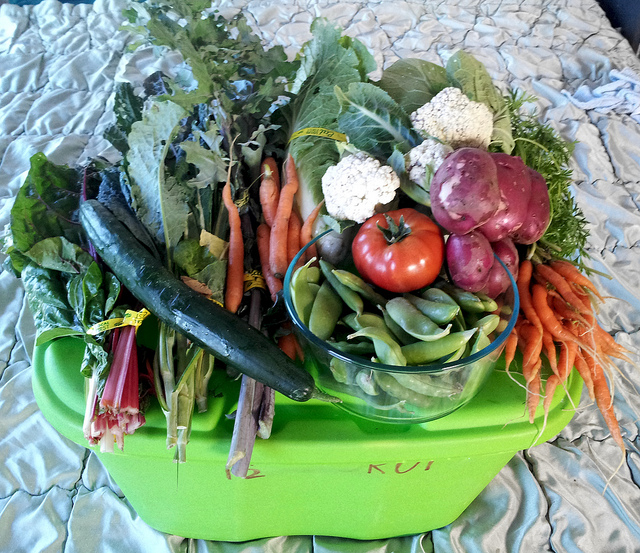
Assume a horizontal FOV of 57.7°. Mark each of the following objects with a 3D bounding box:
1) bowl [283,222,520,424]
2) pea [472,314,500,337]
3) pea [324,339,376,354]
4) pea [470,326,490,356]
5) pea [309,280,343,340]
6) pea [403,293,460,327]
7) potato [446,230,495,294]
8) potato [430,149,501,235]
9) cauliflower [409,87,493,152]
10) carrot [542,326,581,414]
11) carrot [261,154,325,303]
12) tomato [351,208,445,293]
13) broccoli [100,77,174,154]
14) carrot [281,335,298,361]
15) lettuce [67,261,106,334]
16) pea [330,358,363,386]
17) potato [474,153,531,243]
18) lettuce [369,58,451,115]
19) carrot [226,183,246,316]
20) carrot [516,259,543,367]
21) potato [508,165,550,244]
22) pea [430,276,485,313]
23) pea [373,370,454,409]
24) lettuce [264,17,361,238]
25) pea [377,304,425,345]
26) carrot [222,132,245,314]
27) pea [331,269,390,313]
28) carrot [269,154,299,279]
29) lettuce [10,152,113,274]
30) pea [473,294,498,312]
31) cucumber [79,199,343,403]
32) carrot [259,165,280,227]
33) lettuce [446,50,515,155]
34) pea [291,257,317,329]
[{"bbox_3d":[0.111,0.128,0.921,0.365,0.148,0.314,-3,46,0],"label":"bowl"},{"bbox_3d":[0.217,0.066,0.748,0.033,0.013,0.021,-38,72,29],"label":"pea"},{"bbox_3d":[0.040,0.092,0.764,0.076,0.014,0.015,5,108,11],"label":"pea"},{"bbox_3d":[0.206,0.085,0.746,0.015,0.017,0.040,27,95,48],"label":"pea"},{"bbox_3d":[0.005,0.048,0.784,0.048,0.016,0.066,8,61,9],"label":"pea"},{"bbox_3d":[0.146,0.041,0.777,0.031,0.027,0.091,-37,33,-25],"label":"pea"},{"bbox_3d":[0.200,-0.023,0.813,0.075,0.049,0.080,-7,102,-15],"label":"potato"},{"bbox_3d":[0.191,-0.113,0.779,0.103,0.067,0.109,2,77,12],"label":"potato"},{"bbox_3d":[0.212,-0.247,0.918,0.127,0.051,0.096,33,64,14],"label":"cauliflower"},{"bbox_3d":[0.372,0.144,0.887,0.023,0.023,0.132,-24,64,19],"label":"carrot"},{"bbox_3d":[-0.059,-0.086,1.018,0.122,0.036,0.254,10,65,-13],"label":"carrot"},{"bbox_3d":[0.094,-0.035,0.848,0.157,0.128,0.137,1,37,2],"label":"tomato"},{"bbox_3d":[-0.310,-0.301,1.072,0.140,0.211,0.040,19,76,-12],"label":"broccoli"},{"bbox_3d":[-0.047,0.113,0.900,0.026,0.016,0.040,-3,71,-9],"label":"carrot"},{"bbox_3d":[-0.324,0.027,0.807,0.059,0.027,0.097,2,94,-1],"label":"lettuce"},{"bbox_3d":[0.029,0.127,0.786,0.048,0.015,0.031,25,51,6],"label":"pea"},{"bbox_3d":[0.267,-0.113,0.857,0.097,0.067,0.106,-3,79,24],"label":"potato"},{"bbox_3d":[0.160,-0.328,1.004,0.114,0.153,0.025,21,68,-34],"label":"lettuce"},{"bbox_3d":[-0.135,-0.049,0.986,0.037,0.033,0.230,7,72,-30],"label":"carrot"},{"bbox_3d":[0.326,0.046,0.938,0.028,0.031,0.166,-22,41,29],"label":"carrot"},{"bbox_3d":[0.316,-0.107,0.870,0.062,0.062,0.104,5,83,18],"label":"potato"},{"bbox_3d":[0.193,0.029,0.794,0.094,0.029,0.027,27,65,19],"label":"pea"},{"bbox_3d":[0.129,0.137,0.790,0.102,0.056,0.021,23,51,-4],"label":"pea"},{"bbox_3d":[0.031,-0.255,1.068,0.222,0.113,0.370,-18,66,30],"label":"lettuce"},{"bbox_3d":[0.109,0.067,0.798,0.035,0.107,0.028,20,102,-25],"label":"pea"},{"bbox_3d":[-0.134,-0.048,0.955,0.040,0.033,0.254,-1,71,0],"label":"carrot"},{"bbox_3d":[0.062,0.021,0.827,0.028,0.135,0.021,-10,106,-24],"label":"pea"},{"bbox_3d":[-0.049,-0.100,1.007,0.038,0.034,0.206,18,64,-25],"label":"carrot"},{"bbox_3d":[-0.427,-0.111,0.945,0.186,0.053,0.218,7,57,-13],"label":"lettuce"},{"bbox_3d":[0.226,0.037,0.795,0.025,0.011,0.038,-9,28,-21],"label":"pea"},{"bbox_3d":[-0.169,0.045,0.849,0.520,0.074,0.099,29,76,10],"label":"cucumber"},{"bbox_3d":[-0.092,-0.144,1.044,0.039,0.036,0.100,9,99,11],"label":"carrot"},{"bbox_3d":[0.282,-0.301,1.004,0.096,0.034,0.230,-12,82,-11],"label":"lettuce"},{"bbox_3d":[-0.020,0.024,0.823,0.041,0.027,0.098,-6,81,27],"label":"pea"}]
